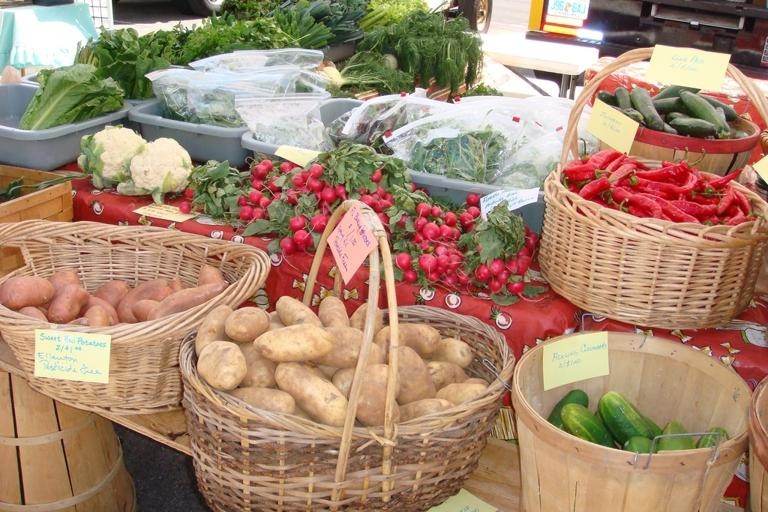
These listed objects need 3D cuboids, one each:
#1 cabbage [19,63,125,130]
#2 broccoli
[{"bbox_3d":[-1.904,-0.954,3.256,0.613,0.291,0.369,-23,46,-18],"label":"cabbage"},{"bbox_3d":[-1.311,-0.590,3.096,0.496,0.373,0.578,5,16,18],"label":"broccoli"}]
